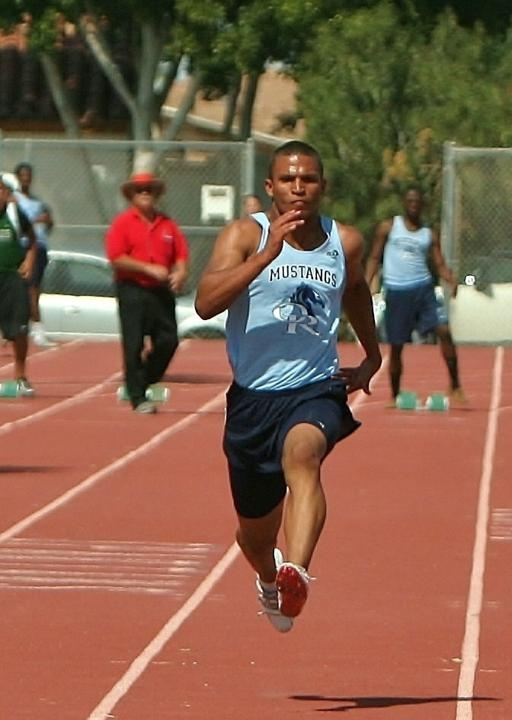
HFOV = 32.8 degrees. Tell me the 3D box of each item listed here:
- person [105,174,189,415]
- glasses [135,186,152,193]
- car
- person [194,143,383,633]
[{"bbox_3d":[-1.039,-0.639,8.342,0.744,2.295,0.961,0,4,-5],"label":"person"},{"bbox_3d":[-1.070,-1.611,8.206,0.090,0.034,0.082,-11,-18,-10],"label":"glasses"},{"bbox_3d":[-1.976,-1.067,14.469,3.257,1.323,1.538,0,3,-4],"label":"car"},{"bbox_3d":[0.094,0.163,2.575,0.529,1.659,1.262,1,3,8],"label":"person"}]
